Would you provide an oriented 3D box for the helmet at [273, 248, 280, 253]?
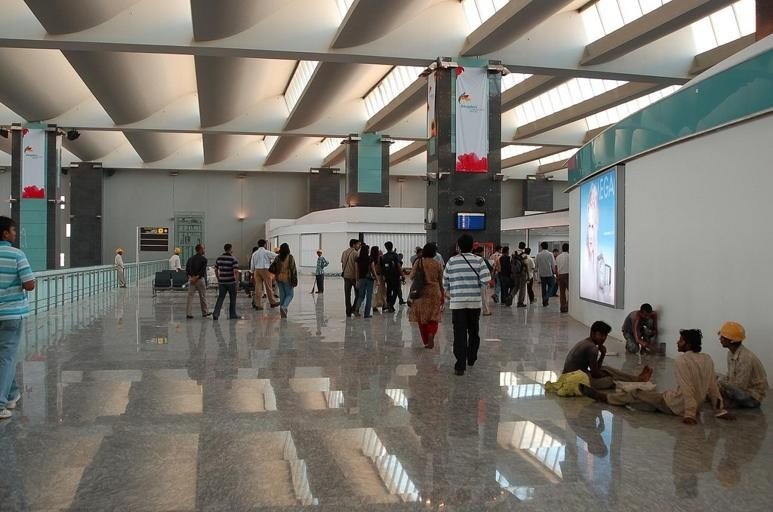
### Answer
[{"bbox_3d":[-5.296,-0.316,24.371,0.306,0.301,0.310,1,-10,-5],"label":"helmet"}]

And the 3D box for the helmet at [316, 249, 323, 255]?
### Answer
[{"bbox_3d":[-3.567,-0.260,27.263,0.350,0.306,0.300,-8,17,-15],"label":"helmet"}]

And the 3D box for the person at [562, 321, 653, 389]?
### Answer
[{"bbox_3d":[2.936,1.347,6.696,1.112,0.905,0.463,6,9,8],"label":"person"}]

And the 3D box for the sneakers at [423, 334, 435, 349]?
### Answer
[{"bbox_3d":[0.767,1.527,8.860,0.121,0.340,0.142,-2,36,-8],"label":"sneakers"}]

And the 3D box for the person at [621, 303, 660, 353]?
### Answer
[{"bbox_3d":[4.267,1.213,8.461,0.423,0.886,0.643,-9,14,-25],"label":"person"}]

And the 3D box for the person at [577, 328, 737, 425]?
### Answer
[{"bbox_3d":[3.277,1.359,6.054,0.764,0.932,1.469,4,-7,-23],"label":"person"}]

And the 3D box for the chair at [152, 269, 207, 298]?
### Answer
[{"bbox_3d":[-6.539,0.855,15.964,1.192,0.688,0.587,1,-1,-4],"label":"chair"}]
